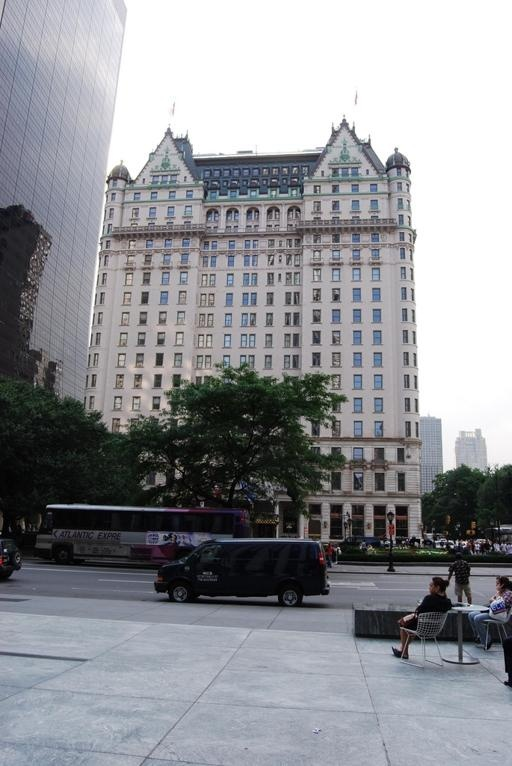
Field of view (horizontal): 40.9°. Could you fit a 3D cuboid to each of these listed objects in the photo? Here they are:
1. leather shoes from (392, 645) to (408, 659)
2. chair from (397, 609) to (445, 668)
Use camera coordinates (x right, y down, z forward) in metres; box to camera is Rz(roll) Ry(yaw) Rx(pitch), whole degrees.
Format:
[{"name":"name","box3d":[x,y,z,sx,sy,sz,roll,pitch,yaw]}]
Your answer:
[{"name":"leather shoes","box3d":[2.248,4.209,10.715,0.103,0.122,0.296,17,3,-40]},{"name":"chair","box3d":[2.552,3.851,10.494,0.704,0.771,0.682,-2,-16,19]}]
